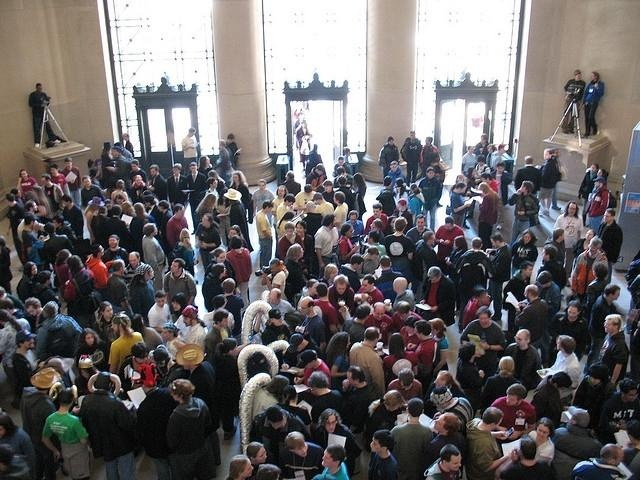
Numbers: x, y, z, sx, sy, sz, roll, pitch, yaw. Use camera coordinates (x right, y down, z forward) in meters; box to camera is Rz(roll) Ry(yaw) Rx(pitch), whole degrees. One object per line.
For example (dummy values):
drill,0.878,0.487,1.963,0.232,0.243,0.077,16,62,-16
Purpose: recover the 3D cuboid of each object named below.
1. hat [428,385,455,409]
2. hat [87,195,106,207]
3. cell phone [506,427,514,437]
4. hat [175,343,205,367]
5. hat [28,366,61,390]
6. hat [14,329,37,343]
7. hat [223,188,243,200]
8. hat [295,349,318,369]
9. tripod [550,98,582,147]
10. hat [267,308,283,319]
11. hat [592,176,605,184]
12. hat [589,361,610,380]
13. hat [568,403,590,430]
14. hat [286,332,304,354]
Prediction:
hat,1.446,1.862,6.567,0.211,0.296,0.285,1,32,11
hat,-4.959,-0.855,12.338,0.363,0.218,0.572,3,12,-2
cell phone,2.290,2.297,6.679,0.069,0.108,0.172,2,13,16
hat,-1.649,1.474,7.049,0.346,0.312,0.194,-5,12,-17
hat,-3.444,1.730,6.950,0.314,0.231,0.209,-6,13,-20
hat,-4.085,1.339,7.682,0.190,0.181,0.228,-5,12,-15
hat,-1.894,-0.902,11.827,0.258,0.116,0.287,-18,46,-40
hat,-0.182,1.510,7.097,0.200,0.294,0.327,-9,14,-31
tripod,7.387,-3.502,16.615,0.870,1.428,0.974,-6,33,5
hat,-0.632,1.013,7.682,0.134,0.138,0.121,-27,23,19
hat,5.901,-1.264,11.641,0.362,0.135,0.267,5,12,33
hat,3.610,1.667,7.265,0.204,0.231,0.191,-8,22,-13
hat,3.042,2.080,6.561,0.207,0.236,0.350,4,13,24
hat,-0.334,1.354,7.393,0.243,0.264,0.188,0,12,7
